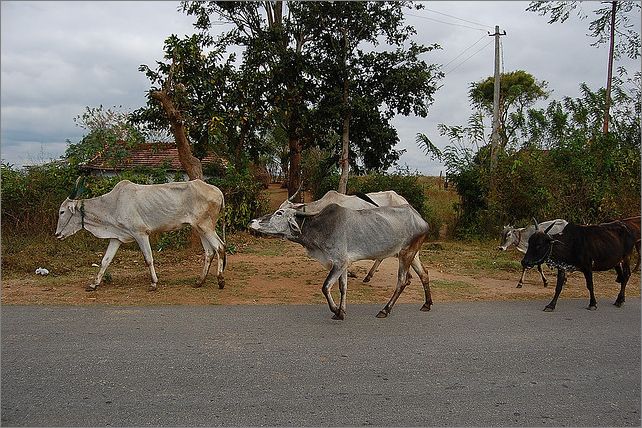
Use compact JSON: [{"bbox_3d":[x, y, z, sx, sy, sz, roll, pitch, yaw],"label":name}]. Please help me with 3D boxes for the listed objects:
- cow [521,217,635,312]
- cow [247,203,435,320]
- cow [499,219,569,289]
[{"bbox_3d":[5.962,1.178,12.791,2.853,1.843,1.039,-2,9,-17],"label":"cow"},{"bbox_3d":[0.449,1.016,11.753,3.975,2.497,1.073,-2,1,-12],"label":"cow"},{"bbox_3d":[6.368,1.178,16.586,2.788,1.755,0.686,-1,-6,-27],"label":"cow"}]
